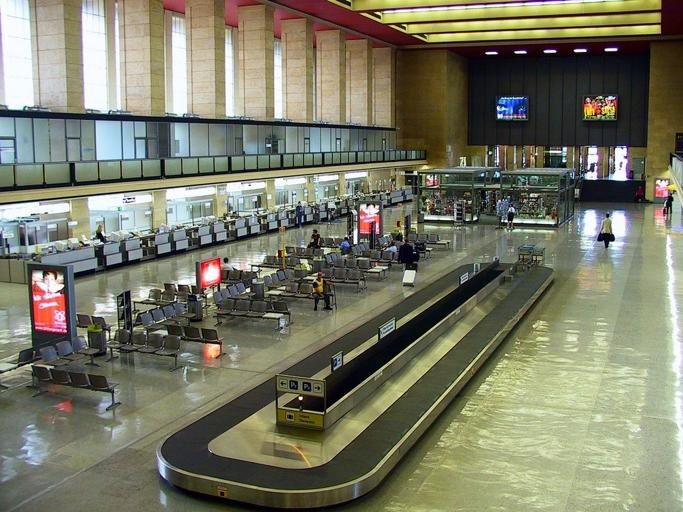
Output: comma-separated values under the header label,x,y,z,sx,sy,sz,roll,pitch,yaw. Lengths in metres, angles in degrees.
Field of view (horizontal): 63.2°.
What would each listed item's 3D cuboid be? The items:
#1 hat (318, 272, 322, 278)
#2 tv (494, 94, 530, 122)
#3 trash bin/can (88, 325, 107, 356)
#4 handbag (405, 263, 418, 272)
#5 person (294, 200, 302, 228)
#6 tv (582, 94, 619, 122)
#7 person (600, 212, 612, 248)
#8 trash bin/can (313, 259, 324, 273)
label,x,y,z,sx,sy,sz,roll,pitch,yaw
hat,-0.717,0.655,18.354,0.150,0.156,0.064,7,-22,6
tv,17.219,-14.642,55.598,3.761,2.131,0.371,4,7,33
trash bin/can,-6.050,2.100,13.738,0.404,0.719,0.488,-10,10,-23
handbag,2.746,0.499,21.742,0.414,0.322,0.397,9,2,37
person,-2.740,-2.500,35.525,0.557,1.428,1.047,-7,9,-3
tv,24.502,-13.828,52.280,3.404,2.175,0.422,3,5,26
person,13.395,-1.173,28.082,0.572,1.718,1.233,-2,9,24
trash bin/can,-0.927,0.457,21.981,0.330,0.423,0.527,4,10,25
